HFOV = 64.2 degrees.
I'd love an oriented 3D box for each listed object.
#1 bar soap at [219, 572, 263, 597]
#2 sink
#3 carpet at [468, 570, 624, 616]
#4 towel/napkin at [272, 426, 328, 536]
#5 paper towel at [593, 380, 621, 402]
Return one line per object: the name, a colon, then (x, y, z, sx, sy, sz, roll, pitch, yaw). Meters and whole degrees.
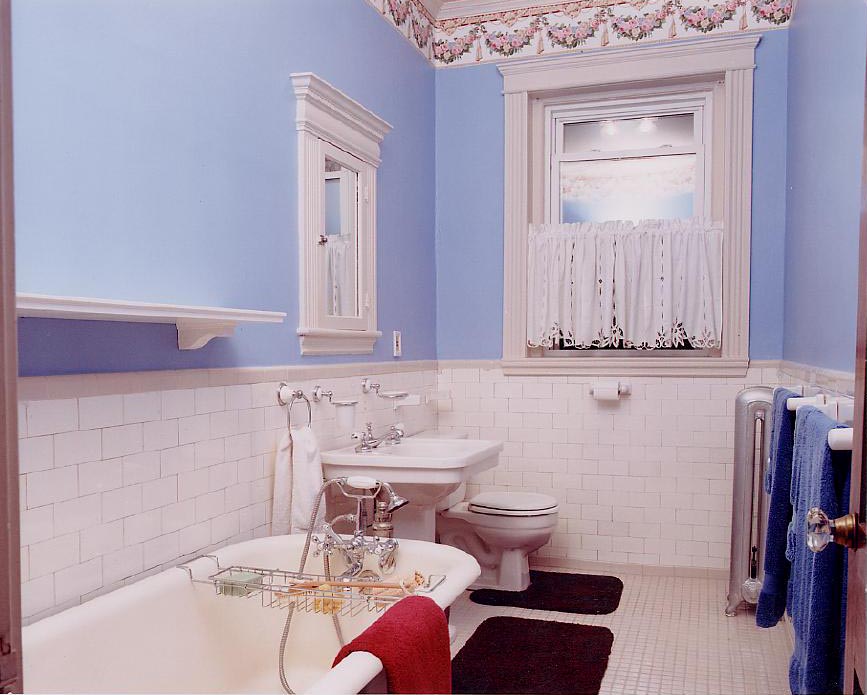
bar soap: (-0.640, 0.781, 2.301, 0.074, 0.041, 0.109, 2, 0, 12)
sink: (-0.086, 0.629, 3.424, 0.685, 0.292, 0.831, 1, 1, 27)
carpet: (0.737, 1.464, 4.194, 0.910, 0.026, 1.024, -4, -8, 34)
towel/napkin: (-0.571, 0.558, 2.899, 0.205, 0.423, 0.194, 0, 2, -14)
paper towel: (1.110, 0.282, 4.445, 0.190, 0.142, 0.158, 1, 1, 17)
